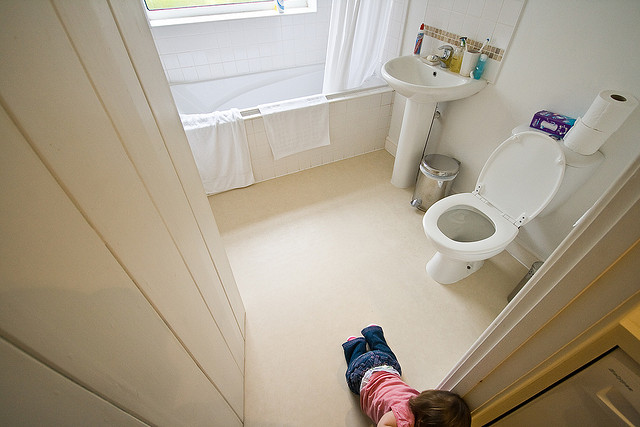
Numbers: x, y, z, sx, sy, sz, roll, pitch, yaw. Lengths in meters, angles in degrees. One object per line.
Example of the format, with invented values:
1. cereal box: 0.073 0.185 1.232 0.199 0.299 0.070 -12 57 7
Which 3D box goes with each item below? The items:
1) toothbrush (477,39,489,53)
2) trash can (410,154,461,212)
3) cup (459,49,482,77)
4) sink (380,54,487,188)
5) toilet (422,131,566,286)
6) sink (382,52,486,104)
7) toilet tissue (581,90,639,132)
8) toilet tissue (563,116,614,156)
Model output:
1. toothbrush: 0.872 -0.903 2.150 0.013 0.092 0.018 6 29 -27
2. trash can: 0.748 -0.199 2.659 0.286 0.355 0.231 -9 44 -11
3. cup: 0.828 -0.826 2.210 0.087 0.141 0.058 13 33 13
4. sink: 0.632 -0.577 2.613 0.379 0.713 0.524 -27 49 -16
5. toilet: 0.913 -0.006 2.079 0.491 0.734 0.351 -21 62 -11
6. sink: 0.614 -0.751 2.432 0.362 0.189 0.520 -17 42 -27
7. toilet tissue: 1.202 -0.425 1.670 0.160 0.155 0.110 24 36 27
8. toilet tissue: 1.155 -0.324 1.739 0.141 0.160 0.161 15 56 19
